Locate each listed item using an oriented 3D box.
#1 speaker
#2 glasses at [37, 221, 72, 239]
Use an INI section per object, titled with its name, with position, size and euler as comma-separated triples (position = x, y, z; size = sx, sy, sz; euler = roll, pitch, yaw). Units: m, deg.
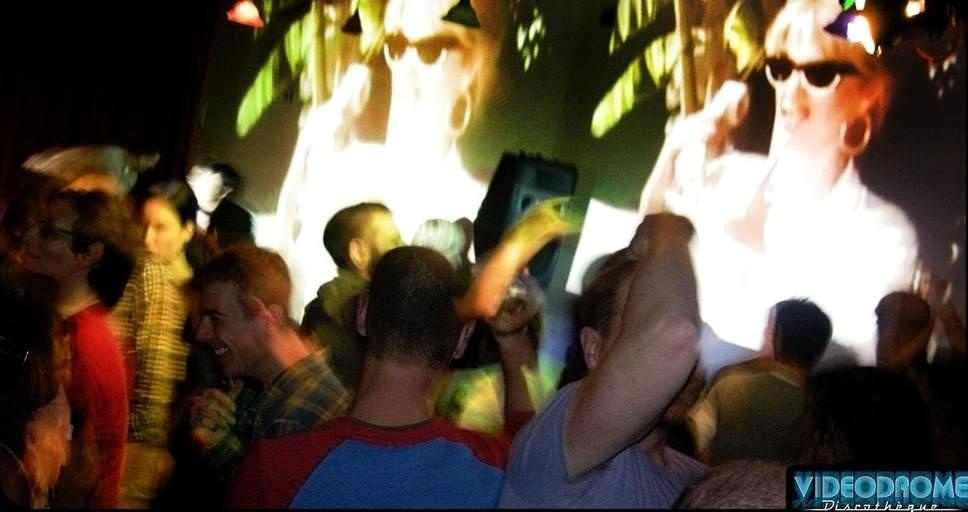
[speaker]
position = 0.247, -0.255, 6.036
size = 0.791, 0.997, 0.246
euler = 18, -11, -3
[glasses]
position = -3.061, -0.173, 5.702
size = 0.249, 0.122, 0.060
euler = 6, -1, 13
